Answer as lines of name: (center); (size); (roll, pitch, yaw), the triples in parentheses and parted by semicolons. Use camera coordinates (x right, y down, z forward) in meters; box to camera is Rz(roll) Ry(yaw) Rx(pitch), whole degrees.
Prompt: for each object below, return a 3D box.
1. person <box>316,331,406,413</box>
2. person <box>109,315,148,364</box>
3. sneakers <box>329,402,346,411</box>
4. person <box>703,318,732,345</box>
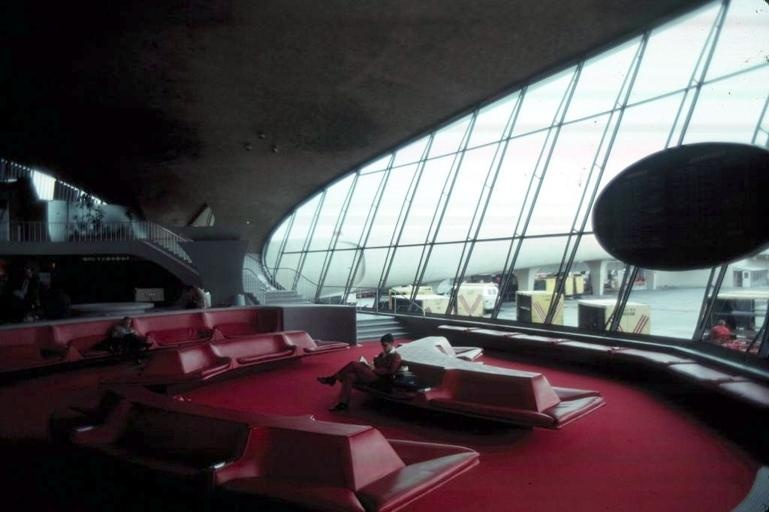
person: (-0.483, 2.228, 9.480); (1.421, 1.422, 0.774); (9, -8, -11)
person: (-5.728, 1.854, 11.504); (0.880, 0.820, 0.505); (6, 1, -23)
sneakers: (-0.884, 2.833, 9.372); (0.368, 0.151, 0.127); (1, -4, 17)
person: (6.631, 1.602, 10.189); (0.410, 0.724, 0.551); (-1, -8, 44)
